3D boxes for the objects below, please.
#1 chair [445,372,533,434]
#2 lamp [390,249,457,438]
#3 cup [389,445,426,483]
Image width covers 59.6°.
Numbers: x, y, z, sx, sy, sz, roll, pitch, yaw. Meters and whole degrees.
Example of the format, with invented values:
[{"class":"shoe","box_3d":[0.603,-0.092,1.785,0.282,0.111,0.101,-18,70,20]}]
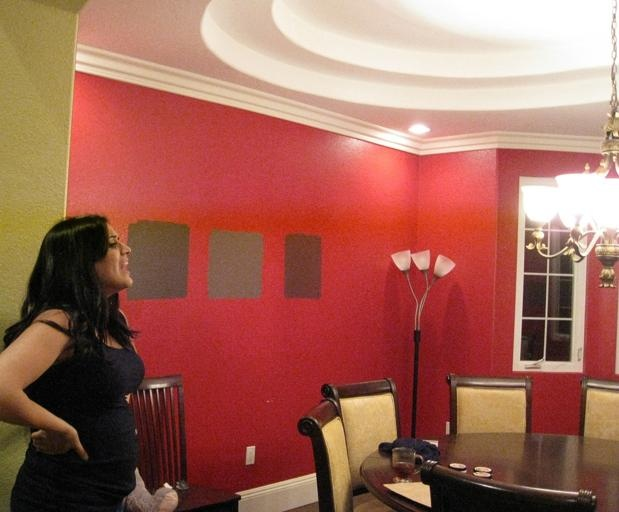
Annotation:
[{"class":"chair","box_3d":[1.090,0.886,3.364,0.347,0.612,0.432,0,-11,2]},{"class":"lamp","box_3d":[0.944,0.752,4.593,0.535,1.626,0.580,1,1,15]},{"class":"cup","box_3d":[0.420,0.857,2.316,0.128,0.147,0.286,0,0,12]}]
